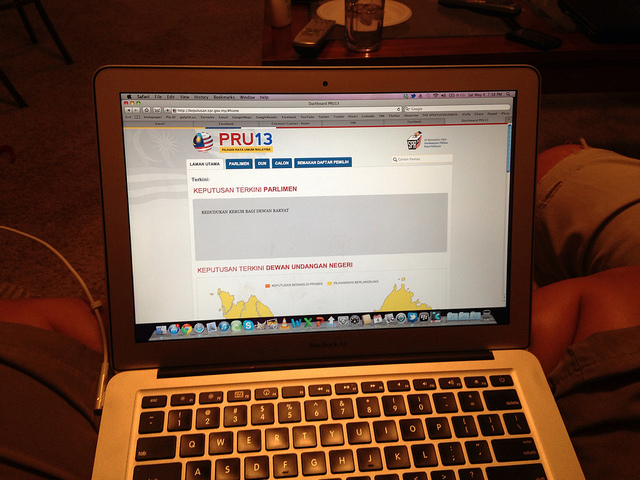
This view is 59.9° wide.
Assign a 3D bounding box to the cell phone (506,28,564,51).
[{"bbox_3d":[0.584,-0.551,1.513,0.074,0.029,0.135,-31,48,-33],"label":"cell phone"}]

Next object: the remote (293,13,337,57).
[{"bbox_3d":[-0.019,-0.565,1.551,0.060,0.049,0.195,9,49,14],"label":"remote"}]

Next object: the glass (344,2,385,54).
[{"bbox_3d":[0.117,-0.587,1.508,0.101,0.093,0.179,4,48,3],"label":"glass"}]

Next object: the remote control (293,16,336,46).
[{"bbox_3d":[-0.017,-0.577,1.522,0.065,0.028,0.162,7,48,15],"label":"remote control"}]
